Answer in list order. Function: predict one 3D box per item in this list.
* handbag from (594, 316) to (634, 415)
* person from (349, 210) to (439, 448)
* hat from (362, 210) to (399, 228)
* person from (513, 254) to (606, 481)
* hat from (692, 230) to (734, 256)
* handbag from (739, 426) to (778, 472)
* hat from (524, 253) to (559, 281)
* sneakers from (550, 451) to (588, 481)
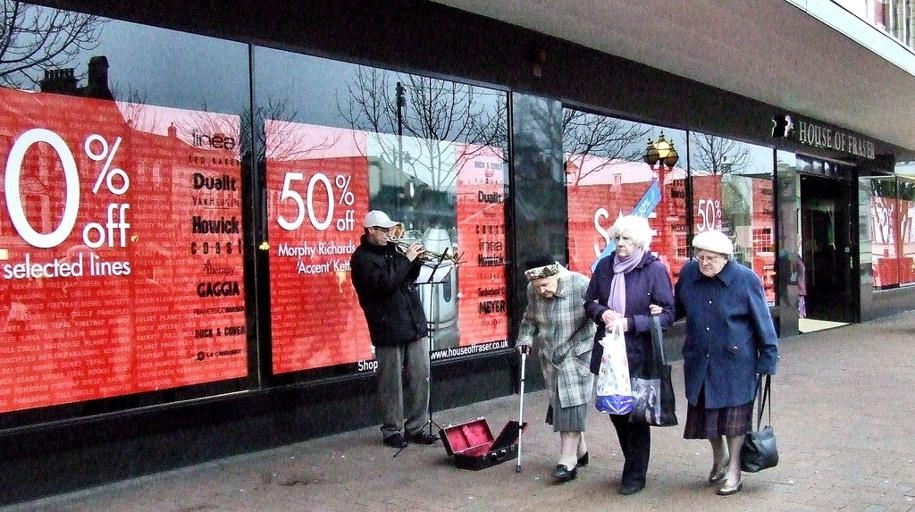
[{"bbox_3d":[1.771,1.266,8.424,0.412,1.107,0.272,0,8,11],"label":"handbag"},{"bbox_3d":[-0.865,0.974,10.129,0.970,3.115,0.689,-3,8,-12],"label":"person"},{"bbox_3d":[-1.072,-0.512,10.170,0.366,0.189,0.262,0,8,1],"label":"hat"},{"bbox_3d":[1.203,1.312,8.959,0.850,2.656,0.691,0,8,10],"label":"person"},{"bbox_3d":[2.894,-0.152,8.708,0.363,0.166,0.408,8,17,-4],"label":"hat"},{"bbox_3d":[3.449,2.205,8.568,0.569,0.454,0.220,2,-5,-41],"label":"handbag"},{"bbox_3d":[0.978,0.132,8.841,0.313,0.196,0.313,-12,6,-20],"label":"hat"},{"bbox_3d":[1.354,2.537,9.070,0.182,0.198,0.654,-4,0,27],"label":"sneakers"}]
